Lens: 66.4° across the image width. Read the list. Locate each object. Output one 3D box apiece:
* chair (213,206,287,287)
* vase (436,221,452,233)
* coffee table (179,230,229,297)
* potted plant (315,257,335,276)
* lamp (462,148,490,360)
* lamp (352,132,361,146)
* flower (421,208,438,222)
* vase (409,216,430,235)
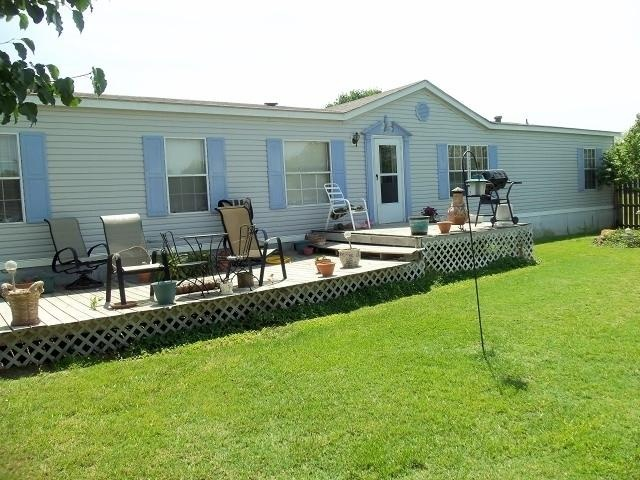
[{"bbox_3d":[-1.219,0.060,8.667,0.929,1.350,1.073,0,4,35],"label":"chair"},{"bbox_3d":[2.494,-0.264,9.835,0.237,0.176,0.243,-1,1,25],"label":"vase"},{"bbox_3d":[-2.190,0.392,9.474,0.894,1.025,0.918,0,2,34],"label":"coffee table"},{"bbox_3d":[0.086,0.430,8.032,0.248,0.245,0.301,-1,-1,-4],"label":"potted plant"},{"bbox_3d":[2.838,0.169,8.874,0.240,3.957,0.506,2,0,5],"label":"lamp"},{"bbox_3d":[0.886,-2.455,11.929,0.092,0.344,0.298,6,12,36],"label":"lamp"},{"bbox_3d":[2.796,-0.673,12.274,0.453,0.495,0.483,1,11,8],"label":"flower"},{"bbox_3d":[1.964,-0.298,9.561,0.333,0.319,0.360,-1,-2,2],"label":"vase"}]
